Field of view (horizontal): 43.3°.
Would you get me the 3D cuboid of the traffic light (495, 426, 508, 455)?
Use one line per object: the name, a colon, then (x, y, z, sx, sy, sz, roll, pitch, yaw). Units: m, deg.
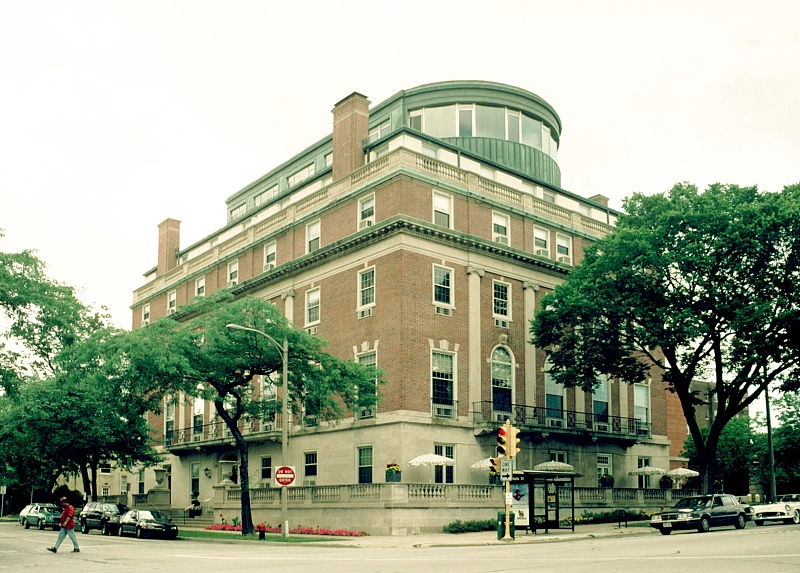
traffic light: (5.108, 7.691, 50.708, 0.452, 1.393, 1.023, -3, -19, 7)

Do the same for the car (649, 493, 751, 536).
car: (16.683, 12.544, 55.695, 5.352, 2.240, 2.100, 9, -21, -26)

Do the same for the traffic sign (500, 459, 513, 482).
traffic sign: (5.385, 9.264, 51.330, 0.480, 1.199, 0.830, 0, -19, -2)

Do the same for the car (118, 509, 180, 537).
car: (-15.060, 14.243, 60.565, 1.648, 2.125, 5.171, 14, -25, -37)

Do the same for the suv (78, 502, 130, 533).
suv: (-19.143, 14.872, 65.437, 2.015, 1.487, 3.435, 16, -27, -41)

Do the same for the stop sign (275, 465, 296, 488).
stop sign: (-6.183, 10.079, 53.816, 0.920, 1.180, 1.380, -1, -19, 0)

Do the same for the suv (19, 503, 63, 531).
suv: (-25.672, 16.522, 72.736, 1.749, 1.363, 3.758, 15, -28, -38)
